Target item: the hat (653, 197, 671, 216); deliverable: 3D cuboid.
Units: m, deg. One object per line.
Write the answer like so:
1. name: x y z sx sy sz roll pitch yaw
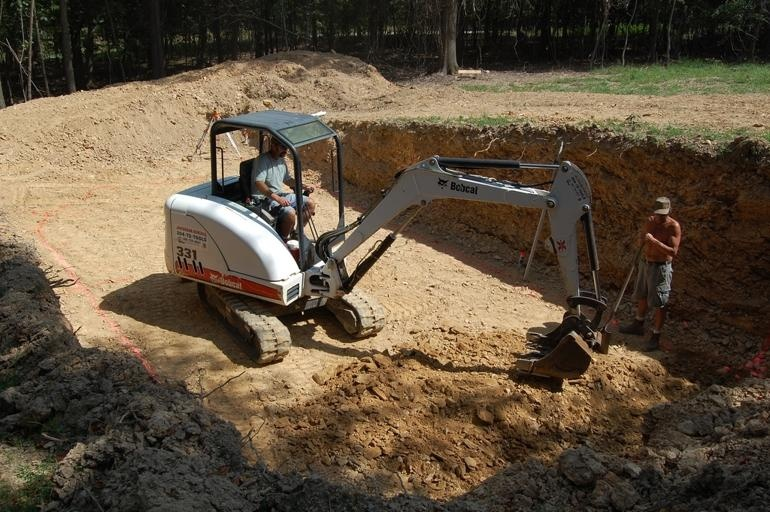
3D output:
1. hat: 4.823 -0.867 11.600 0.269 0.203 0.404 14 45 34

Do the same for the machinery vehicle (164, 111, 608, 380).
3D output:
1. machinery vehicle: -0.195 -0.215 11.120 7.737 3.428 2.876 11 22 28
